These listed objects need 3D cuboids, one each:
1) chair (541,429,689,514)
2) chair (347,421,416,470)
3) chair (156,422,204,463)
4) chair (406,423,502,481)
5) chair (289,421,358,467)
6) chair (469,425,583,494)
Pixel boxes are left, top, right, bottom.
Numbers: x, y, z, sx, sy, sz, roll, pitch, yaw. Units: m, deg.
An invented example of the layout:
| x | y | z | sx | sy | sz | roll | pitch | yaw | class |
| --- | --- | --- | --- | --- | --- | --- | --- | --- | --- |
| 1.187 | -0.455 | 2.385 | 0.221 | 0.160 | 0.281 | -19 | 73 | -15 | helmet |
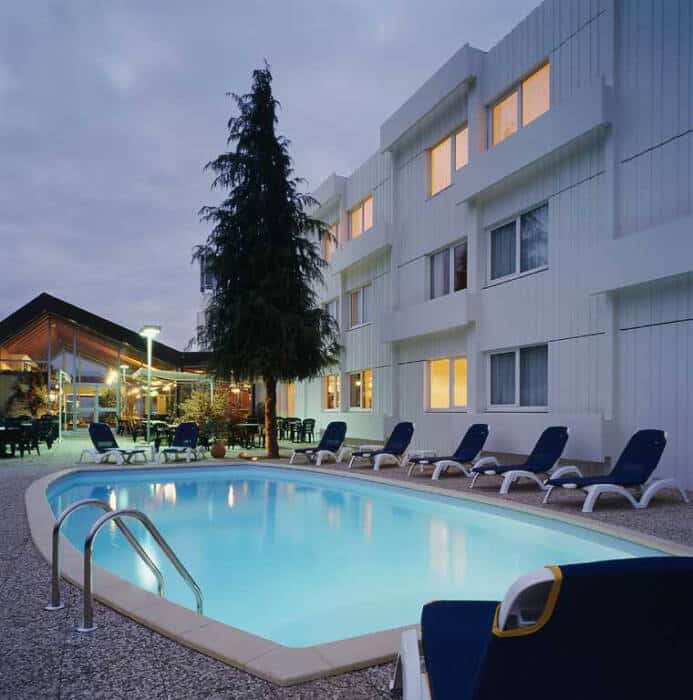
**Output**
| x | y | z | sx | sy | sz | roll | pitch | yaw | class |
| --- | --- | --- | --- | --- | --- | --- | --- | --- | --- |
| 3.384 | 1.462 | 8.433 | 2.201 | 1.106 | 1.354 | 11 | -8 | -36 | chair |
| 0.813 | 1.896 | 13.528 | 1.030 | 0.945 | 0.763 | 5 | -3 | -39 | chair |
| -3.770 | 2.054 | 15.249 | 0.632 | 0.912 | 1.090 | 0 | -2 | 6 | chair |
| 1.938 | 1.747 | 11.654 | 1.154 | 1.075 | 0.917 | 1 | -6 | -27 | chair |
| -0.497 | 1.991 | 14.675 | 0.684 | 0.962 | 1.210 | -1 | -3 | 33 | chair |
| 2.666 | 1.590 | 10.135 | 1.369 | 1.287 | 0.922 | 4 | -6 | -20 | chair |
